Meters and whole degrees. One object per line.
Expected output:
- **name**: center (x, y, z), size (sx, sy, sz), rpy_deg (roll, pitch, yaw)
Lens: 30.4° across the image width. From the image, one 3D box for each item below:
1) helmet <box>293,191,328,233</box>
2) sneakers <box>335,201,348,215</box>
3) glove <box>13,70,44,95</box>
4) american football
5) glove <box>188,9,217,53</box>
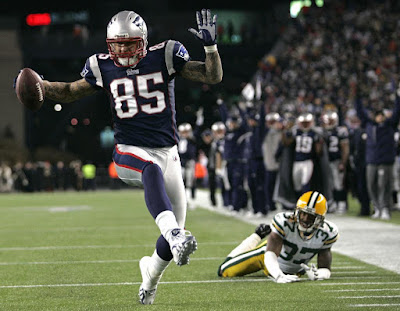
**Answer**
- **helmet**: center (1.740, 0.869, 11.695), size (0.432, 0.703, 0.423), rpy_deg (-4, 9, -20)
- **sneakers**: center (3.643, 1.330, 18.897), size (0.286, 0.316, 0.293), rpy_deg (-1, -7, 9)
- **glove**: center (-2.619, -1.146, 11.151), size (0.228, 0.292, 0.475), rpy_deg (-3, 4, -41)
- **american football**: center (-2.570, -1.039, 11.214), size (0.395, 0.624, 0.374), rpy_deg (-25, 1, 32)
- **glove**: center (0.085, -1.846, 10.923), size (0.421, 0.650, 0.226), rpy_deg (-14, -2, -15)
